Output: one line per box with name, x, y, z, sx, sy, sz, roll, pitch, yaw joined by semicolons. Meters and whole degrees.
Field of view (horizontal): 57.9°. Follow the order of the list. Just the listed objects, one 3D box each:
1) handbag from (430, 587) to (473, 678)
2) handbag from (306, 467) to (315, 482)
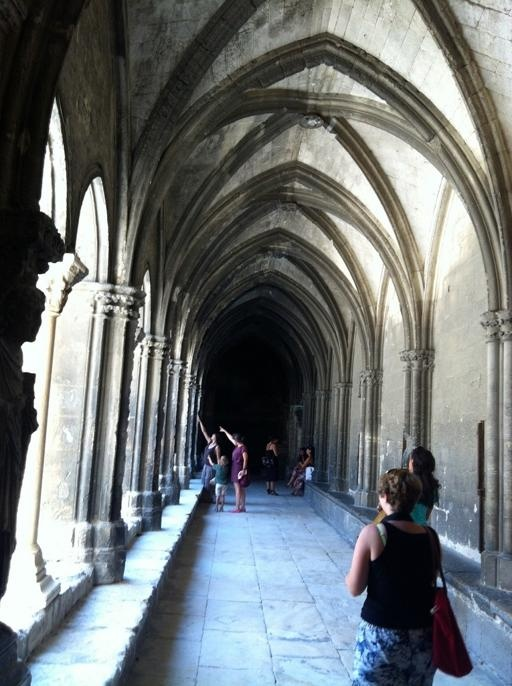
handbag;0.523;0.776;1.248;0.091;0.199;0.079;-4;-10;28
handbag;1.798;4.359;15.441;0.194;0.470;0.256;14;-25;-19
